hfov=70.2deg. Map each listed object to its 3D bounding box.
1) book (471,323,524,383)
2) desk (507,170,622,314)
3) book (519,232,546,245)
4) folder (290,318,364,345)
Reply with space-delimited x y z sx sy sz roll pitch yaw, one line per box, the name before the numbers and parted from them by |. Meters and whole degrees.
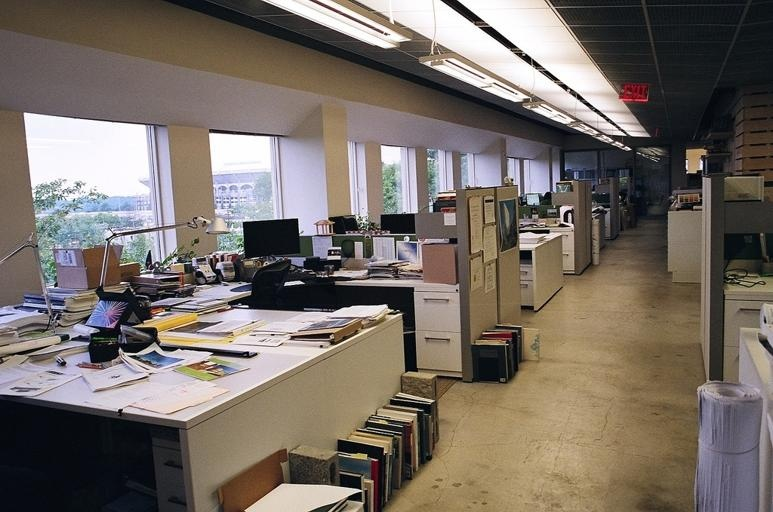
book | 1.157 1.012 5.729 0.355 0.454 0.648 -1 8 27
desk | 2.794 -0.145 9.185 2.470 1.157 2.449 2 15 22
book | 2.186 -0.258 8.238 0.363 0.075 0.910 -3 7 14
folder | -0.451 0.541 3.945 0.254 0.066 0.247 -3 9 30
